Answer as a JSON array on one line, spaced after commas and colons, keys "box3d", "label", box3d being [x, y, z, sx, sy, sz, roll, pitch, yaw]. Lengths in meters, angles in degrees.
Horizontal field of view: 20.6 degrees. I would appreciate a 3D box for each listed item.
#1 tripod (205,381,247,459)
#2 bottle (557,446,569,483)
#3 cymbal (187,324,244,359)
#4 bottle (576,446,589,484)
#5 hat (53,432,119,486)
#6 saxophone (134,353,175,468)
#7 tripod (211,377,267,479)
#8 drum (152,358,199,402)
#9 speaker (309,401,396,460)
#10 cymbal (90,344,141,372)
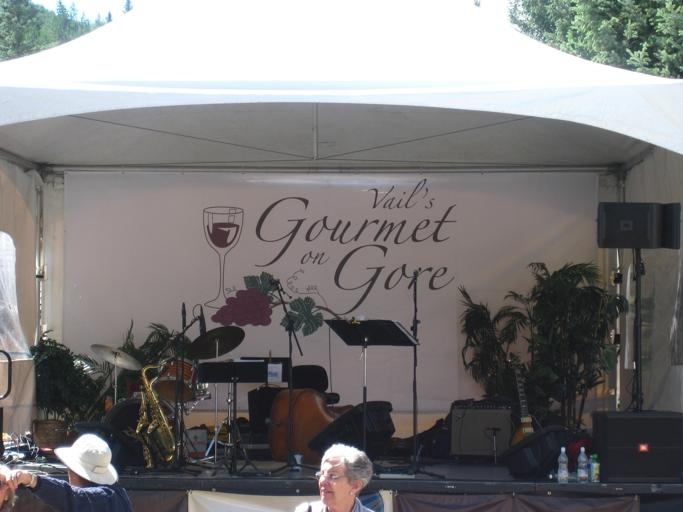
[{"box3d": [-1.427, 2.086, 23.726, 0.454, 0.904, 0.418, 3, 2, -6], "label": "tripod"}, {"box3d": [2.656, 2.527, 22.655, 0.149, 0.413, 0.241, 0, -6, 7], "label": "bottle"}, {"box3d": [-1.549, 1.107, 23.740, 0.707, 0.420, 0.557, 4, -7, -36], "label": "cymbal"}, {"box3d": [2.901, 2.520, 22.707, 0.151, 0.421, 0.329, -1, -6, 7], "label": "bottle"}, {"box3d": [-2.758, 2.248, 20.741, 0.517, 0.605, 0.540, 0, 3, -22], "label": "hat"}, {"box3d": [-2.278, 1.966, 23.363, 0.410, 1.288, 0.486, -1, 3, -13], "label": "saxophone"}, {"box3d": [-1.222, 2.148, 23.155, 0.553, 1.128, 0.626, 0, 1, -9], "label": "tripod"}, {"box3d": [-1.987, 1.599, 23.551, 0.525, 0.391, 0.532, 8, -41, 7], "label": "drum"}, {"box3d": [0.202, 2.109, 23.235, 0.935, 0.709, 0.883, 1, 1, 18], "label": "speaker"}, {"box3d": [-2.774, 1.290, 23.746, 0.614, 0.295, 0.327, 1, -6, -7], "label": "cymbal"}]
